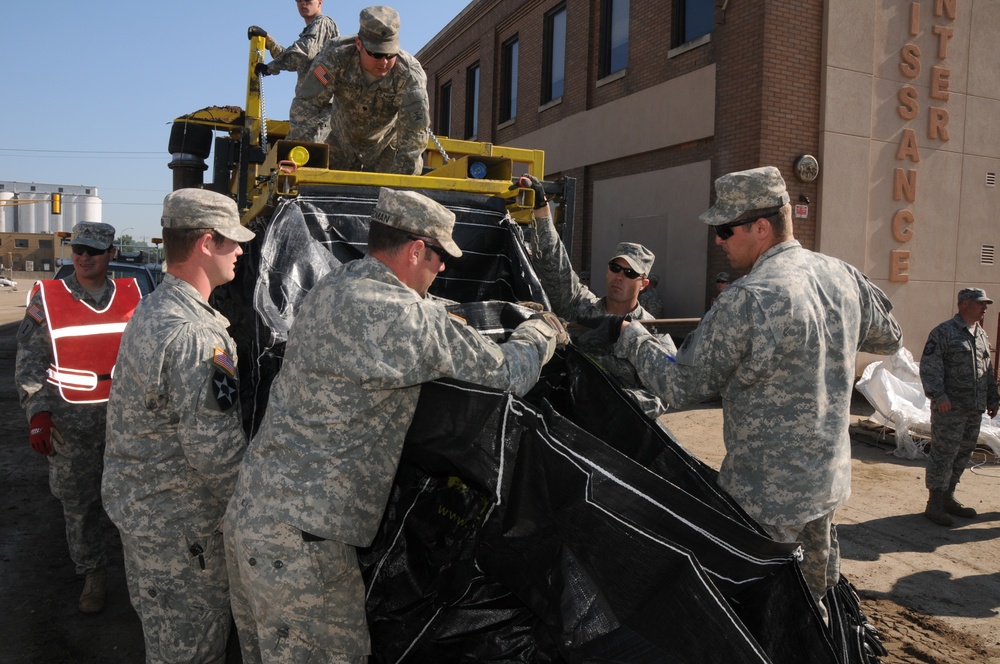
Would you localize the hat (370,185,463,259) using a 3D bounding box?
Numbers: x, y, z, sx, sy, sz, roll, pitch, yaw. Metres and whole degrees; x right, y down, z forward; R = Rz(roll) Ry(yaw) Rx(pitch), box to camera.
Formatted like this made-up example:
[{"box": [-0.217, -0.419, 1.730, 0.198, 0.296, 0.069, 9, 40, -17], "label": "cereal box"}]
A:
[{"box": [-0.469, -0.692, 5.395, 0.602, 0.269, 0.400, 16, 8, -24], "label": "hat"}]

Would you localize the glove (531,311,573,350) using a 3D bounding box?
[{"box": [0.365, -0.020, 5.681, 0.284, 0.121, 0.176, 46, -4, 11], "label": "glove"}]

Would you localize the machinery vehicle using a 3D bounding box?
[{"box": [-1.188, -1.024, 7.713, 2.760, 2.592, 3.517, -4, 16, -32], "label": "machinery vehicle"}]

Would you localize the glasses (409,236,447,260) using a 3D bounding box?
[{"box": [-0.417, -0.485, 5.274, 0.155, 0.045, 0.155, 29, -5, 1], "label": "glasses"}]

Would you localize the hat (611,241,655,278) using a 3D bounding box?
[{"box": [1.143, -0.596, 7.304, 0.305, 0.216, 0.412, 25, -5, 29], "label": "hat"}]

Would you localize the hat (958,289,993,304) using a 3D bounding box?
[{"box": [5.155, -0.386, 9.516, 0.359, 0.154, 0.257, 3, 5, 12], "label": "hat"}]

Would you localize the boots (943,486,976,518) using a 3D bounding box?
[{"box": [4.793, 1.845, 9.388, 0.462, 0.364, 0.177, -3, 1, 8], "label": "boots"}]

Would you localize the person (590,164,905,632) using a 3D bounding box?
[{"box": [1.676, 0.109, 5.796, 1.338, 2.322, 0.728, 5, 12, 16], "label": "person"}]

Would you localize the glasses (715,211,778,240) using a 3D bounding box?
[{"box": [1.626, -0.732, 5.875, 0.276, 0.086, 0.213, -25, 0, 11], "label": "glasses"}]

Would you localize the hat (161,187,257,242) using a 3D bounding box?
[{"box": [-1.949, -0.786, 5.883, 0.637, 0.315, 0.476, -2, 12, -29], "label": "hat"}]

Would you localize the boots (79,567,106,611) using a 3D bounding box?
[{"box": [-3.300, 2.062, 7.200, 0.174, 0.172, 0.418, 7, 28, -10], "label": "boots"}]

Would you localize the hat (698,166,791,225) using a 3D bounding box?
[{"box": [1.632, -0.915, 5.909, 0.518, 0.273, 0.369, -11, 15, -3], "label": "hat"}]

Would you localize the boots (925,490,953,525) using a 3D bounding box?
[{"box": [4.561, 1.823, 9.116, 0.255, 0.306, 0.224, 4, 12, 10], "label": "boots"}]
